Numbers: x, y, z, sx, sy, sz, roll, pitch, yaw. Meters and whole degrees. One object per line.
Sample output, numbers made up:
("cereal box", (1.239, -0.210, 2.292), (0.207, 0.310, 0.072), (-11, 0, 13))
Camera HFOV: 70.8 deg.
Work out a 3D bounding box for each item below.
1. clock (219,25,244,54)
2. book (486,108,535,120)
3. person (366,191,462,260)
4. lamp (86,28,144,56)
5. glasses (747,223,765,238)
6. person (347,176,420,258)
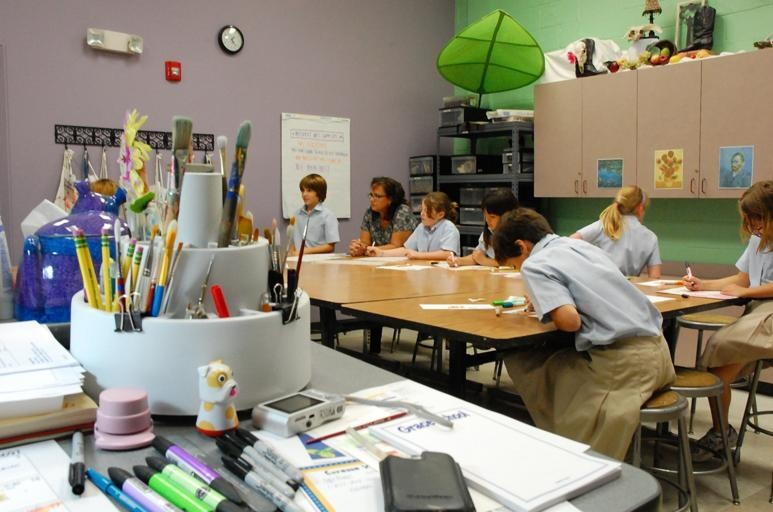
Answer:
("clock", (-1.347, -1.889, 4.737), (0.243, 0.246, 0.057), (-5, 10, -37))
("book", (1.203, -1.356, 5.194), (0.221, 0.061, 0.226), (4, 7, 44))
("person", (0.211, -0.135, 4.319), (0.739, 0.739, 0.452), (-4, 9, -15))
("lamp", (-2.102, -1.673, 4.212), (0.414, 0.165, 0.089), (-4, 9, -34))
("glasses", (1.995, -0.141, 2.932), (0.022, 0.069, 0.066), (11, 11, 3))
("person", (-0.006, -0.302, 4.883), (0.687, 0.759, 0.521), (-4, 8, -30))
